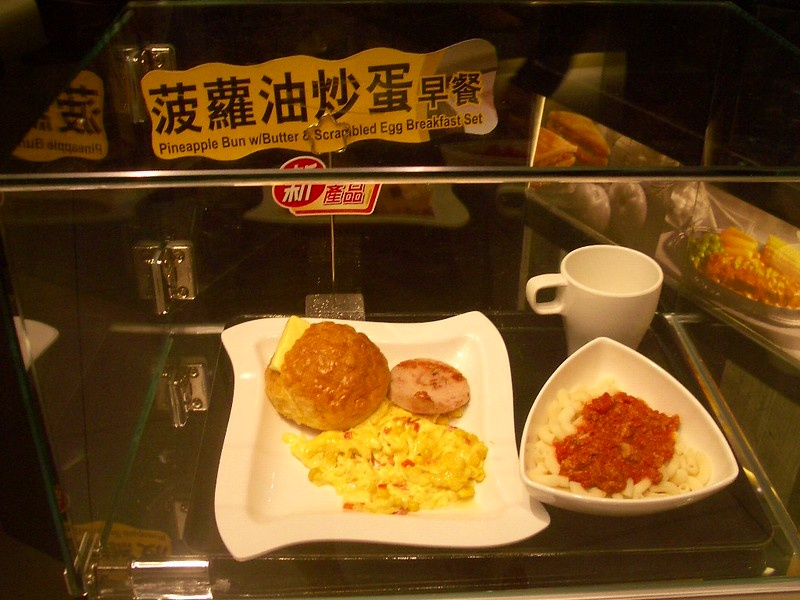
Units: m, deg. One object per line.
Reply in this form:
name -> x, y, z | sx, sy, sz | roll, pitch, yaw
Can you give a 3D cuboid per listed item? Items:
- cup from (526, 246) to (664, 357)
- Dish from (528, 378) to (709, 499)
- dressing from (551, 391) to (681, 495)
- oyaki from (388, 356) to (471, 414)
cup -> 0.347, -0.030, 1.128 | 0.233, 0.221, 0.228 | 0, 22, 0
Dish -> 0.335, 0.207, 0.871 | 0.175, 0.054, 0.184 | 2, 34, 1
dressing -> 0.335, 0.214, 0.888 | 0.149, 0.021, 0.148 | -2, 50, -1
oyaki -> 0.049, 0.145, 1.001 | 0.140, 0.025, 0.129 | 9, 37, 5
